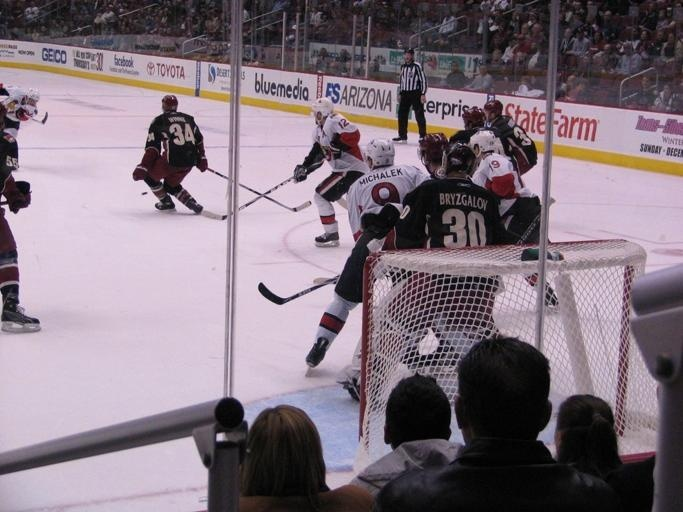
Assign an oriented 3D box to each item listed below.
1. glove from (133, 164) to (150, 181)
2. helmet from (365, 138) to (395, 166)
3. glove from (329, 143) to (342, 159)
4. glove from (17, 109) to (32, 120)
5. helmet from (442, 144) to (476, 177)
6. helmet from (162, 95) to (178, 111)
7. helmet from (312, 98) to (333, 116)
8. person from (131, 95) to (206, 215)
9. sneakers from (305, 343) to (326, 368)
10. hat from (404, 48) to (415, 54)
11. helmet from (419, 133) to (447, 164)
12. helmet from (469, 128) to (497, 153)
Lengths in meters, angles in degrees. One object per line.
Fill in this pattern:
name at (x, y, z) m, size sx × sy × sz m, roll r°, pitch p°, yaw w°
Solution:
glove at (-1.931, -0.797, 7.474) m, size 0.120 × 0.058 × 0.162 m, roll 7°, pitch 29°, yaw 14°
helmet at (0.225, -0.637, 4.749) m, size 0.137 × 0.162 × 0.176 m, roll -3°, pitch 20°, yaw -10°
glove at (-0.057, -0.915, 6.779) m, size 0.091 × 0.118 × 0.088 m, roll -4°, pitch 1°, yaw 2°
glove at (-1.997, -0.893, 4.877) m, size 0.057 × 0.042 × 0.077 m, roll 3°, pitch 21°, yaw -42°
helmet at (0.588, -0.481, 3.919) m, size 0.150 × 0.170 × 0.135 m, roll 3°, pitch 12°, yaw 4°
helmet at (-1.671, -1.489, 7.510) m, size 0.154 × 0.194 × 0.199 m, roll -5°, pitch 30°, yaw -21°
helmet at (-0.183, -1.350, 6.990) m, size 0.183 × 0.147 × 0.140 m, roll 19°, pitch 25°, yaw 20°
person at (-1.686, -0.997, 7.665) m, size 0.687 × 1.149 × 0.541 m, roll 0°, pitch 12°, yaw -10°
sneakers at (-0.141, 0.525, 4.180) m, size 0.085 × 0.150 × 0.054 m, roll 30°, pitch -9°, yaw 2°
hat at (1.017, -3.120, 11.860) m, size 0.199 × 0.105 × 0.278 m, roll 1°, pitch 14°, yaw 6°
helmet at (0.500, -0.596, 4.411) m, size 0.139 × 0.171 × 0.177 m, roll -14°, pitch 32°, yaw -14°
helmet at (0.961, -0.781, 5.402) m, size 0.185 × 0.160 × 0.143 m, roll 23°, pitch 32°, yaw 33°
